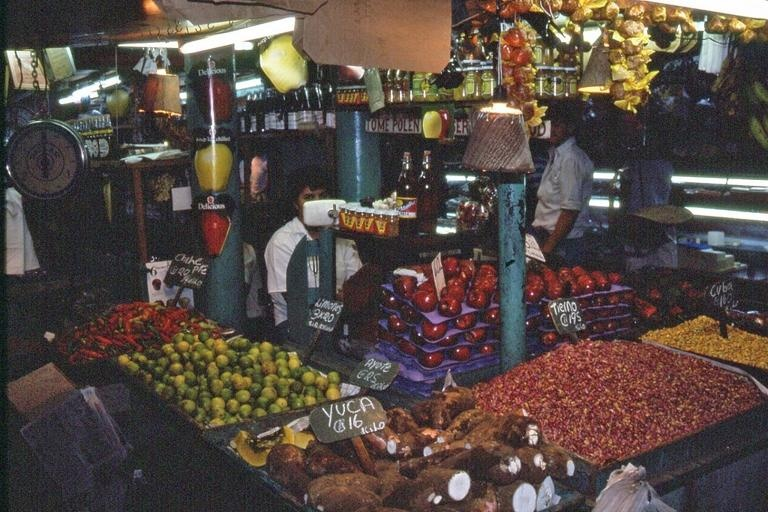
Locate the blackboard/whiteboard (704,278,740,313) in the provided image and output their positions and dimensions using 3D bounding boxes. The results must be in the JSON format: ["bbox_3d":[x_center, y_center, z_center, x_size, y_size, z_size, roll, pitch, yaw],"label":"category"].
[{"bbox_3d":[2.323,0.275,4.284,0.195,0.204,0.033,-5,0,-35],"label":"blackboard/whiteboard"}]

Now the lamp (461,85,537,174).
[{"bbox_3d":[0.553,-0.642,3.187,0.371,0.528,0.377,-6,11,-33],"label":"lamp"}]

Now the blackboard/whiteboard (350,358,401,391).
[{"bbox_3d":[-0.059,0.643,3.439,0.270,0.127,0.152,10,18,34],"label":"blackboard/whiteboard"}]

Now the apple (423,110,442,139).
[{"bbox_3d":[0.357,-1.034,4.840,0.161,0.212,0.170,-5,10,-5],"label":"apple"}]

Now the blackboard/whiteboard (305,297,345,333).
[{"bbox_3d":[-0.403,0.396,4.098,0.171,0.221,0.309,-10,17,-32],"label":"blackboard/whiteboard"}]

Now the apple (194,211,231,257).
[{"bbox_3d":[-1.496,-0.181,5.498,0.263,0.368,0.285,1,-19,-20],"label":"apple"}]

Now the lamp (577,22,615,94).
[{"bbox_3d":[1.379,-1.254,4.045,0.196,0.399,0.618,3,16,17],"label":"lamp"}]

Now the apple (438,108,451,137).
[{"bbox_3d":[0.464,-1.008,4.737,0.060,0.171,0.136,-1,9,-11],"label":"apple"}]
